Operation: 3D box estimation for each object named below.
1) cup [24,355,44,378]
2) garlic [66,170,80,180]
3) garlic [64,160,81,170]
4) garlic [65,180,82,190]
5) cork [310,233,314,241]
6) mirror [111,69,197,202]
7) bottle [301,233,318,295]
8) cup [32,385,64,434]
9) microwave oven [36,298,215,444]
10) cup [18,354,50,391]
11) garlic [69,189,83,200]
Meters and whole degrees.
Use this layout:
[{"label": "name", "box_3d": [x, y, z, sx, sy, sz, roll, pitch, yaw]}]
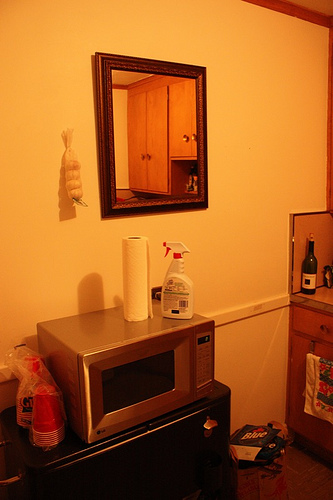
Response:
[{"label": "cup", "box_3d": [-0.365, 0.325, 1.135, 0.046, 0.044, 0.065, -7, 14, -21]}, {"label": "garlic", "box_3d": [-0.292, -0.233, 1.288, 0.042, 0.029, 0.024, -6, 13, -18]}, {"label": "garlic", "box_3d": [-0.294, -0.264, 1.290, 0.044, 0.031, 0.028, -7, 14, -23]}, {"label": "garlic", "box_3d": [-0.291, -0.203, 1.291, 0.046, 0.030, 0.034, -5, 13, -13]}, {"label": "cork", "box_3d": [0.793, -0.065, 2.245, 0.022, 0.044, 0.063, 2, 13, 19]}, {"label": "mirror", "box_3d": [-0.056, -0.426, 1.490, 0.447, 0.536, 0.022, -10, 14, -38]}, {"label": "bottle", "box_3d": [0.770, 0.072, 2.231, 0.078, 0.306, 0.160, 2, 13, 18]}, {"label": "cup", "box_3d": [-0.301, 0.407, 1.053, 0.046, 0.102, 0.065, -8, 16, -38]}, {"label": "microwave oven", "box_3d": [-0.118, 0.335, 1.290, 0.485, 0.295, 0.374, -11, 16, -36]}, {"label": "cup", "box_3d": [-0.359, 0.329, 1.133, 0.065, 0.102, 0.082, -5, 14, -28]}, {"label": "garlic", "box_3d": [-0.283, -0.172, 1.293, 0.040, 0.034, 0.021, -7, 14, -24]}]
